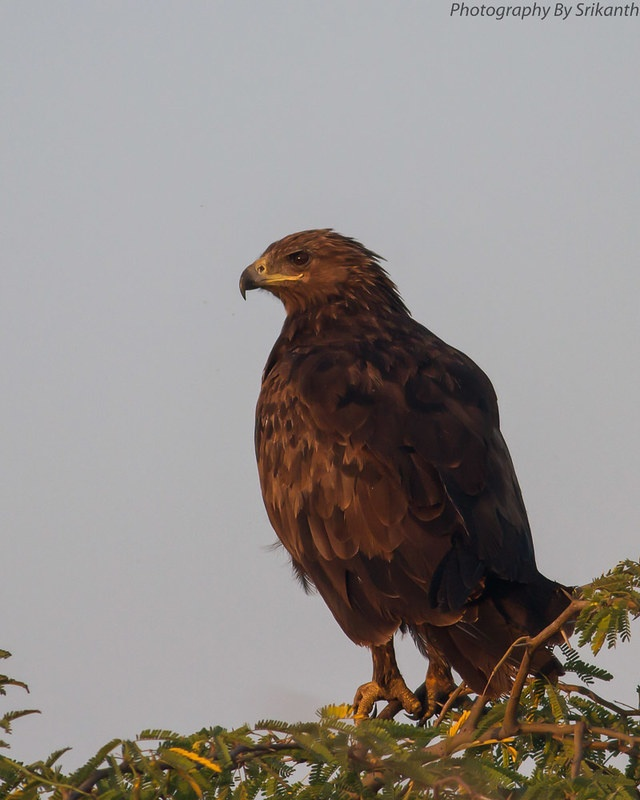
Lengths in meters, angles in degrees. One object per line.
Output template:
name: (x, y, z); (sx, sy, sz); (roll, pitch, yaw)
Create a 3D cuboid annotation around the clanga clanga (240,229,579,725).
clanga clanga: (0.171, 0.202, 3.937); (0.665, 1.057, 1.602); (-4, 9, -2)
